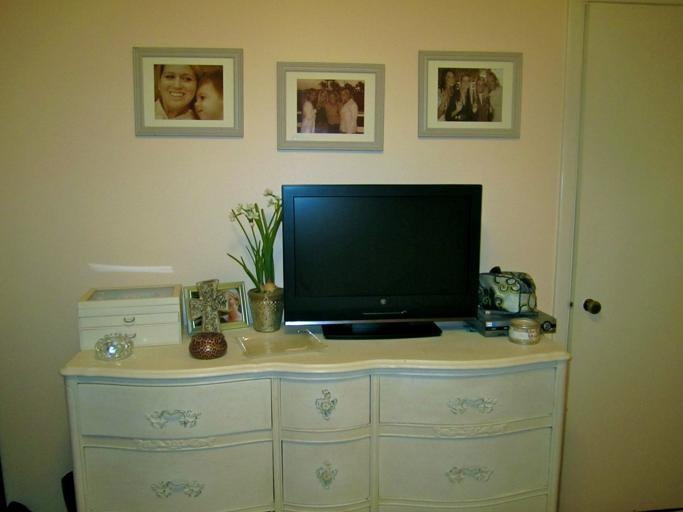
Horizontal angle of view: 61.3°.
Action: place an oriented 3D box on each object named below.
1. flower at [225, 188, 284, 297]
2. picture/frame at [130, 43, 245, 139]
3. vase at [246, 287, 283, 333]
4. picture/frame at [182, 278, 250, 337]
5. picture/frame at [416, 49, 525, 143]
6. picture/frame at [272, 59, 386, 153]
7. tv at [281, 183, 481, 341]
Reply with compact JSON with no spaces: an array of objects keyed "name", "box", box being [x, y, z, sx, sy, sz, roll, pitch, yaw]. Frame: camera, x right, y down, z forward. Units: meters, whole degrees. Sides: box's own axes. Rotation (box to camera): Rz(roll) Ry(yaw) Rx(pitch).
[{"name":"flower","box":[-0.356,-0.022,2.710,0.234,0.431,0.215,-8,-4,-2]},{"name":"picture/frame","box":[-0.729,-0.776,2.662,0.408,0.345,0.036,0,3,-2]},{"name":"vase","box":[-0.348,0.237,2.662,0.185,0.210,0.186,0,4,-15]},{"name":"picture/frame","box":[-0.577,0.245,2.645,0.234,0.196,0.018,-3,-4,-28]},{"name":"picture/frame","box":[0.600,-0.777,2.747,0.411,0.346,0.018,0,4,-4]},{"name":"picture/frame","box":[-0.078,-0.718,2.706,0.406,0.331,0.019,0,3,-3]},{"name":"tv","box":[0.161,0.012,2.621,0.646,0.529,0.177,0,4,-4]}]
